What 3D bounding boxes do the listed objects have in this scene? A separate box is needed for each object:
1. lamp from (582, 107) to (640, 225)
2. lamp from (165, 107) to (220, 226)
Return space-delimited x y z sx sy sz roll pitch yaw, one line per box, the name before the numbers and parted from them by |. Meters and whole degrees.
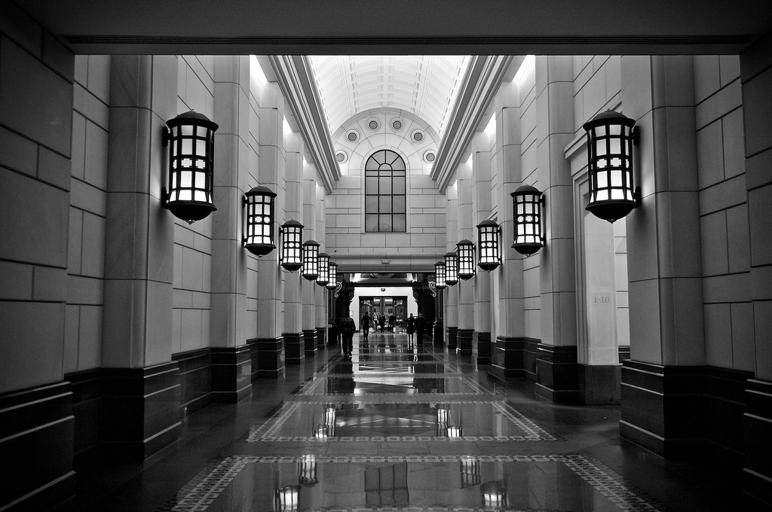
lamp | 3.484 -1.403 8.735 0.793 1.655 0.411 0 -2 10
lamp | -2.967 -1.361 8.563 0.760 1.637 0.397 1 -2 -21
